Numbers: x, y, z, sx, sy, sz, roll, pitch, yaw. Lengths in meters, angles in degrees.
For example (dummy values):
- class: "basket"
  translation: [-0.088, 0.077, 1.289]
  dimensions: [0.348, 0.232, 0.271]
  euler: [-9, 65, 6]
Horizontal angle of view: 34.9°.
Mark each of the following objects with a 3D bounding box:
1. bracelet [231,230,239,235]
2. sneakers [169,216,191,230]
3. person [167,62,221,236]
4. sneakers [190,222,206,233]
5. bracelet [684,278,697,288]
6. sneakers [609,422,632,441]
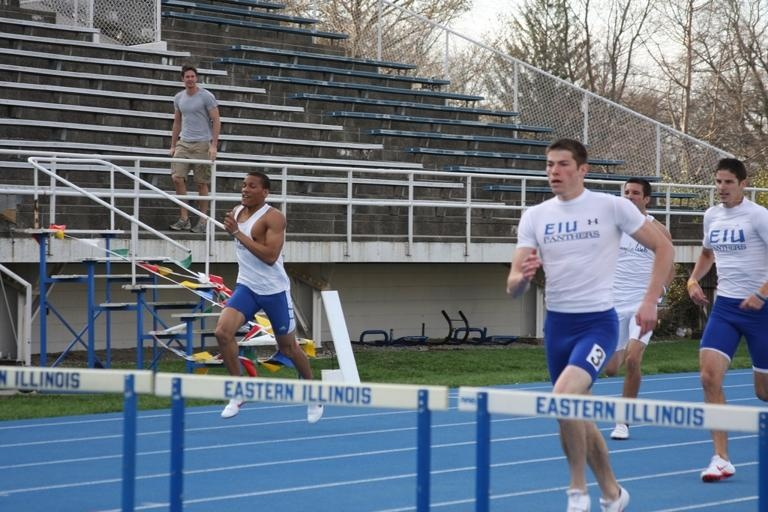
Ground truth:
- class: "bracelet"
  translation: [-1.796, -0.281, 14.761]
  dimensions: [0.065, 0.043, 0.061]
  euler: [1, -4, -1]
- class: "sneakers"
  translation: [-3.184, -0.475, 18.928]
  dimensions: [0.415, 0.195, 0.149]
  euler: [2, -7, 20]
- class: "person"
  translation: [-2.880, -1.610, 18.608]
  dimensions: [0.704, 2.488, 1.080]
  euler: [-1, -4, -13]
- class: "sneakers"
  translation: [-2.841, -0.424, 18.739]
  dimensions: [0.212, 0.081, 0.119]
  euler: [1, 2, 8]
- class: "bracelet"
  translation: [3.737, 0.330, 14.825]
  dimensions: [0.118, 0.100, 0.088]
  euler: [-24, 22, -36]
- class: "sneakers"
  translation: [2.891, 2.145, 15.043]
  dimensions: [0.253, 0.225, 0.568]
  euler: [-2, -8, 21]
